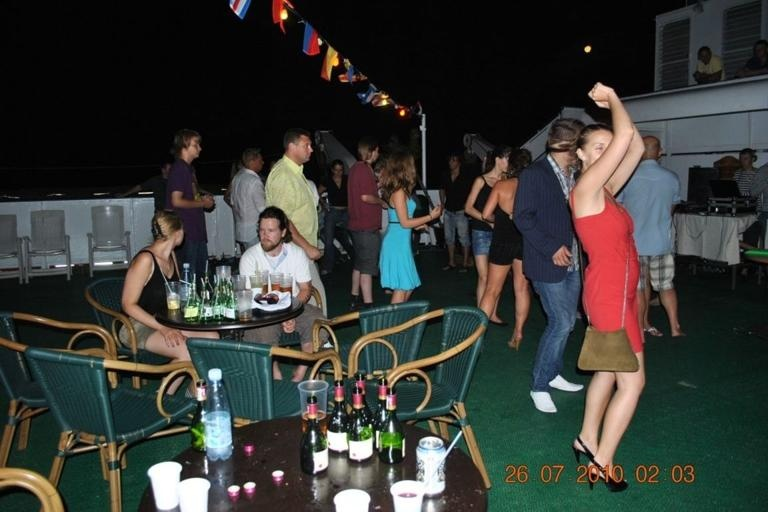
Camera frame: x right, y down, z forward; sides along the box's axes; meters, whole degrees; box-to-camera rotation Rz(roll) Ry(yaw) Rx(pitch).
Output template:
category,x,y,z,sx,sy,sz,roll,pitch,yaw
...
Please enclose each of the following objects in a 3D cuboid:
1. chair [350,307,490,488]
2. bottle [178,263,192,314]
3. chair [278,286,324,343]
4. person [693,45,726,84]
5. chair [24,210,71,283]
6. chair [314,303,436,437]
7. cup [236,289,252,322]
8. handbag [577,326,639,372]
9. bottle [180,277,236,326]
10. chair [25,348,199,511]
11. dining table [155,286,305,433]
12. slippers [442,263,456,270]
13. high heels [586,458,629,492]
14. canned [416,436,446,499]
category,x,y,z,sx,sy,sz,roll,pitch,yaw
chair,0.203,1.008,3.558,0.937,1.167,0.960,-4,8,-26
bottle,-1.661,0.269,4.120,0.143,0.400,0.148,1,0,0
chair,-0.757,0.556,4.686,0.419,0.558,0.504,0,1,25
person,7.296,-4.311,11.119,0.542,1.043,1.155,-2,3,34
chair,-6.318,-0.217,9.249,0.758,1.149,0.770,-5,3,-24
chair,-0.159,0.831,3.694,0.910,1.008,0.885,4,-16,-14
cup,-1.106,0.388,3.879,0.143,0.214,0.149,-3,-7,0
handbag,1.473,0.607,3.213,0.328,0.288,0.110,0,8,20
bottle,-1.390,0.356,3.986,0.372,0.372,0.379,-2,-2,41
chair,-1.753,1.126,3.139,0.729,0.940,0.747,12,24,20
dining table,-0.948,0.628,3.475,0.809,1.065,0.824,2,28,10
slippers,1.241,0.212,9.661,0.310,0.126,0.103,1,10,-27
high heels,1.562,1.537,3.455,0.259,0.180,0.152,8,0,20
canned,0.216,0.984,2.306,0.132,0.219,0.133,-1,1,-20
